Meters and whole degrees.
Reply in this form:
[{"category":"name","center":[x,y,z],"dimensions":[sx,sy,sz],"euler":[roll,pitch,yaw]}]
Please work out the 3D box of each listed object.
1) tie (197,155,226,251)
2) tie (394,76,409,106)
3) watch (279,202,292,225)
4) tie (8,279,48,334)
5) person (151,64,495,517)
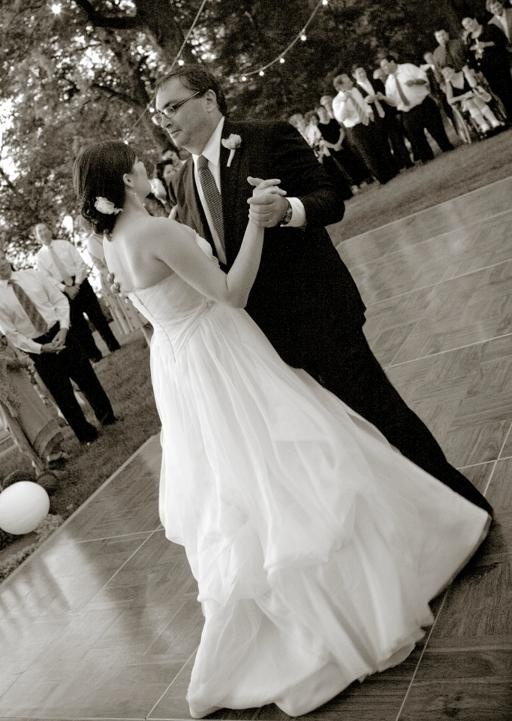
[{"category":"tie","center":[-0.114,-0.421,1.711],"dimensions":[0.073,0.244,0.074],"euler":[-18,19,-27]},{"category":"tie","center":[1.767,-3.277,7.621],"dimensions":[0.050,0.358,0.020],"euler":[-26,5,28]},{"category":"watch","center":[0.073,-0.331,1.422],"dimensions":[0.015,0.042,0.032],"euler":[1,8,-35]},{"category":"tie","center":[-1.695,-0.383,4.815],"dimensions":[0.117,0.503,0.031],"euler":[-39,14,-30]},{"category":"person","center":[0.104,-0.118,1.677],"dimensions":[0.454,1.390,0.403],"euler":[-27,4,25]}]
